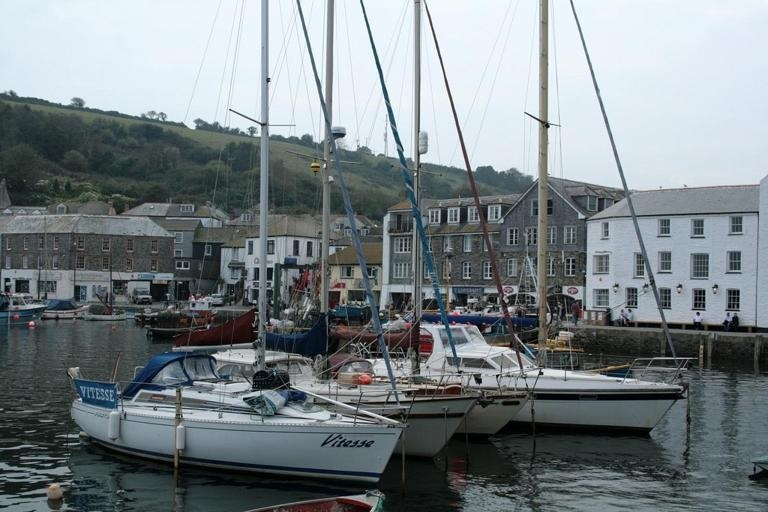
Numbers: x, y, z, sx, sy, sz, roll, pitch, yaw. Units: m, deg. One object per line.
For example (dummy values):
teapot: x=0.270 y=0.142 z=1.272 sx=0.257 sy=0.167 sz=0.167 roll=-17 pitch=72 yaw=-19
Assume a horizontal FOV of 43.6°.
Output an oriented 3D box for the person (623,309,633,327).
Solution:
person: x=18.084 y=4.751 z=71.693 sx=1.268 sy=1.205 sz=0.684 roll=-1 pitch=-5 yaw=6

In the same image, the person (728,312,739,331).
person: x=24.674 y=4.685 z=67.702 sx=0.522 sy=1.270 sz=1.041 roll=0 pitch=-3 yaw=27
